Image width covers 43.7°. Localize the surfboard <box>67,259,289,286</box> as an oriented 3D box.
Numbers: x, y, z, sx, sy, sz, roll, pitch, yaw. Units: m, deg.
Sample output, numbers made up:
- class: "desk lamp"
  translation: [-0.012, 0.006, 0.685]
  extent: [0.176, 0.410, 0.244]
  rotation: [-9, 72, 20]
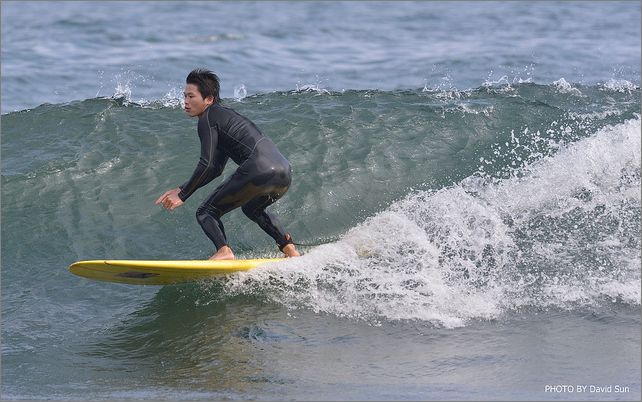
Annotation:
- class: "surfboard"
  translation: [-2.270, 1.182, 13.196]
  extent: [3.968, 0.460, 0.206]
  rotation: [0, 62, -10]
